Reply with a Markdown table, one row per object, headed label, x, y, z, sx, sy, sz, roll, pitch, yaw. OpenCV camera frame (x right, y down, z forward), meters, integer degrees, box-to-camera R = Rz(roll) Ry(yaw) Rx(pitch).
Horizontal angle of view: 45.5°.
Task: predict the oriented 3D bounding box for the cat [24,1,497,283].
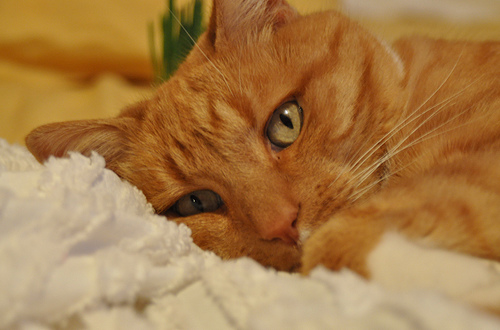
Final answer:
| label | x | y | z | sx | sy | sz | roll | pitch | yaw |
| --- | --- | --- | --- | --- | --- | --- | --- | --- | --- |
| cat | 0.138 | -0.100 | 1.356 | 0.919 | 0.312 | 0.659 | 25 | 57 | 19 |
